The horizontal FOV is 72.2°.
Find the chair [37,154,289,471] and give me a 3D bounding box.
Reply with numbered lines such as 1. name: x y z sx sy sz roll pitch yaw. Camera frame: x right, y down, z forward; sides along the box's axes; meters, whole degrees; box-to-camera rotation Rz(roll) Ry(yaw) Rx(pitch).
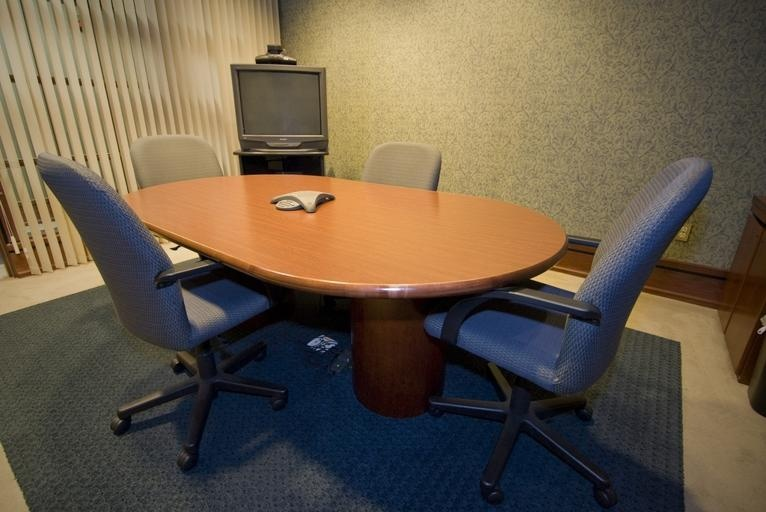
1. chair: -1.213 0.213 3.114 1.109 1.652 1.051 -13 27 -31

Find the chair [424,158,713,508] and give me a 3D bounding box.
1. chair: 0.896 0.368 2.779 1.322 1.760 0.847 3 26 1

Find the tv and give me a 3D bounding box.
1. tv: -1.137 -1.485 5.326 1.014 0.802 0.579 -12 20 -34

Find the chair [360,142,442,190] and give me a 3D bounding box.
1. chair: 0.186 -0.711 4.034 0.487 0.516 0.444 9 26 19
